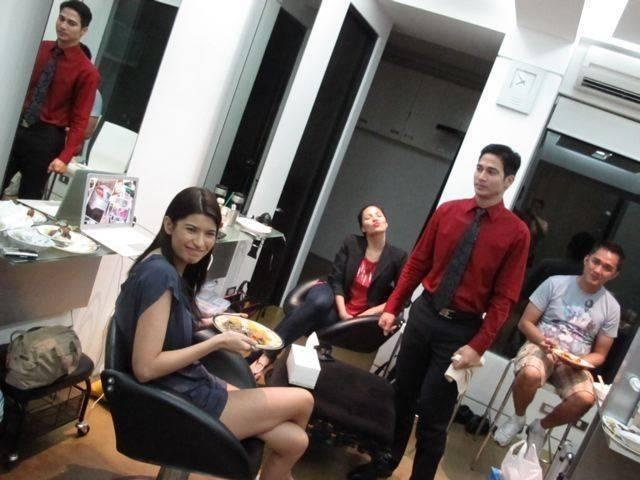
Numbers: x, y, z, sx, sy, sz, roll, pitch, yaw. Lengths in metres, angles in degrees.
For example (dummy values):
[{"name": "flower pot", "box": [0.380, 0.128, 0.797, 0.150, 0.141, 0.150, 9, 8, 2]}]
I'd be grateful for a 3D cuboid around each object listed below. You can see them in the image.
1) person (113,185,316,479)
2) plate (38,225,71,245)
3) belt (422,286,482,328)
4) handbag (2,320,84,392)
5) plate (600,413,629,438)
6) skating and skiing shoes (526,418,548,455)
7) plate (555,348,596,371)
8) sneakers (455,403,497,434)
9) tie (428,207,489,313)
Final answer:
[{"name": "person", "box": [-0.390, 0.261, 2.670, 1.169, 1.952, 0.830, -3, 12, -15]}, {"name": "plate", "box": [-1.293, -0.032, 2.153, 0.110, 0.035, 0.114, 33, 23, 6]}, {"name": "belt", "box": [0.775, 0.401, 2.546, 0.223, 0.056, 0.219, 15, 14, -18]}, {"name": "handbag", "box": [-1.355, 0.556, 2.149, 0.302, 0.119, 0.267, -8, 68, -48]}, {"name": "plate", "box": [1.161, 0.728, 1.740, 0.055, 0.014, 0.058, 21, 17, 6]}, {"name": "skating and skiing shoes", "box": [1.523, 1.370, 3.143, 0.124, 0.383, 0.150, 5, 32, 24]}, {"name": "plate", "box": [1.802, 0.848, 3.144, 0.340, 0.084, 0.235, 14, 9, -31]}, {"name": "sneakers", "box": [1.303, 1.536, 3.722, 0.281, 0.244, 0.114, 24, 16, 24]}, {"name": "tie", "box": [0.802, 0.109, 2.518, 0.157, 0.591, 0.085, 11, 8, -36]}]
